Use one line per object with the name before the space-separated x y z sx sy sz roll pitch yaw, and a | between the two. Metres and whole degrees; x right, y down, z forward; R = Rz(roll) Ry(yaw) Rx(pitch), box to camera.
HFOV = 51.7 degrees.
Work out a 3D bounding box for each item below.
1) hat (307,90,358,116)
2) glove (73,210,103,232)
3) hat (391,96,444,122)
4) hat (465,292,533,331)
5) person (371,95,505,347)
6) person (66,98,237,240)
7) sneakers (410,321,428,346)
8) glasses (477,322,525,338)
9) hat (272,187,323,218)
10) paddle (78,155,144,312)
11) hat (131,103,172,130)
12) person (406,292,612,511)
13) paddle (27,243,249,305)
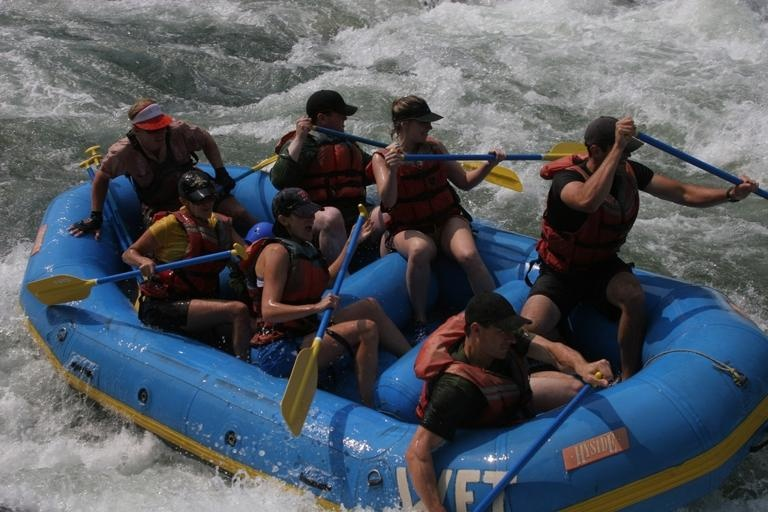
hat | -0.461 -1.331 6.908 0.371 0.179 0.227 -14 13 -1
glove | -2.513 -0.299 6.731 0.155 0.072 0.222 33 58 9
hat | 0.249 -1.152 6.253 0.372 0.239 0.185 8 36 0
hat | 0.730 0.342 5.080 0.435 0.212 0.280 6 17 39
person | 0.460 -0.340 6.493 1.106 1.840 0.919 -2 22 1
person | -2.122 -0.970 7.068 1.194 0.791 1.361 -24 60 -33
sneakers | 0.278 0.628 6.348 0.120 0.039 0.193 13 66 25
glasses | 0.760 0.455 5.042 0.225 0.066 0.135 -11 5 17
hat | -0.644 -0.383 5.783 0.302 0.156 0.201 -11 4 15
paddle | -2.297 -0.164 6.663 0.245 0.228 1.553 -18 63 -30
hat | -1.908 -1.149 6.615 0.356 0.236 0.157 -20 45 -33
person | 0.821 1.004 5.151 0.836 1.095 0.783 -19 34 28
paddle | -1.947 0.147 6.257 1.637 0.195 0.207 -11 3 2
